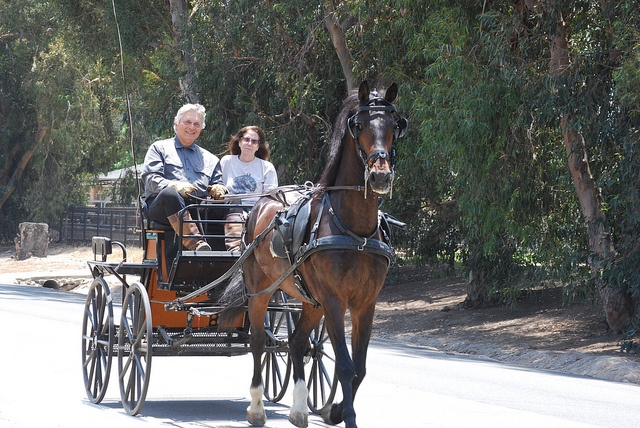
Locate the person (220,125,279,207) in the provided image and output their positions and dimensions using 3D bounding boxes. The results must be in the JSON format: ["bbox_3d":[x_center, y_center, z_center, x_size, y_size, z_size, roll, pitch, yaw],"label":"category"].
[{"bbox_3d":[-1.502,-0.872,18.795,1.132,2.000,1.063,10,-14,-13],"label":"person"}]

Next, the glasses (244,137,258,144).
[{"bbox_3d":[-1.430,-1.521,18.854,0.153,0.053,0.170,12,-18,-10],"label":"glasses"}]

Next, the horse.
[{"bbox_3d":[-0.009,0.806,15.972,3.066,6.010,0.946,0,-4,44],"label":"horse"}]

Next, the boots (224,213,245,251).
[{"bbox_3d":[-1.644,0.286,17.685,0.481,1.002,0.721,3,-7,-6],"label":"boots"}]

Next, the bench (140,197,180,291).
[{"bbox_3d":[-2.823,0.564,17.441,1.126,1.952,1.141,0,0,-14],"label":"bench"}]
